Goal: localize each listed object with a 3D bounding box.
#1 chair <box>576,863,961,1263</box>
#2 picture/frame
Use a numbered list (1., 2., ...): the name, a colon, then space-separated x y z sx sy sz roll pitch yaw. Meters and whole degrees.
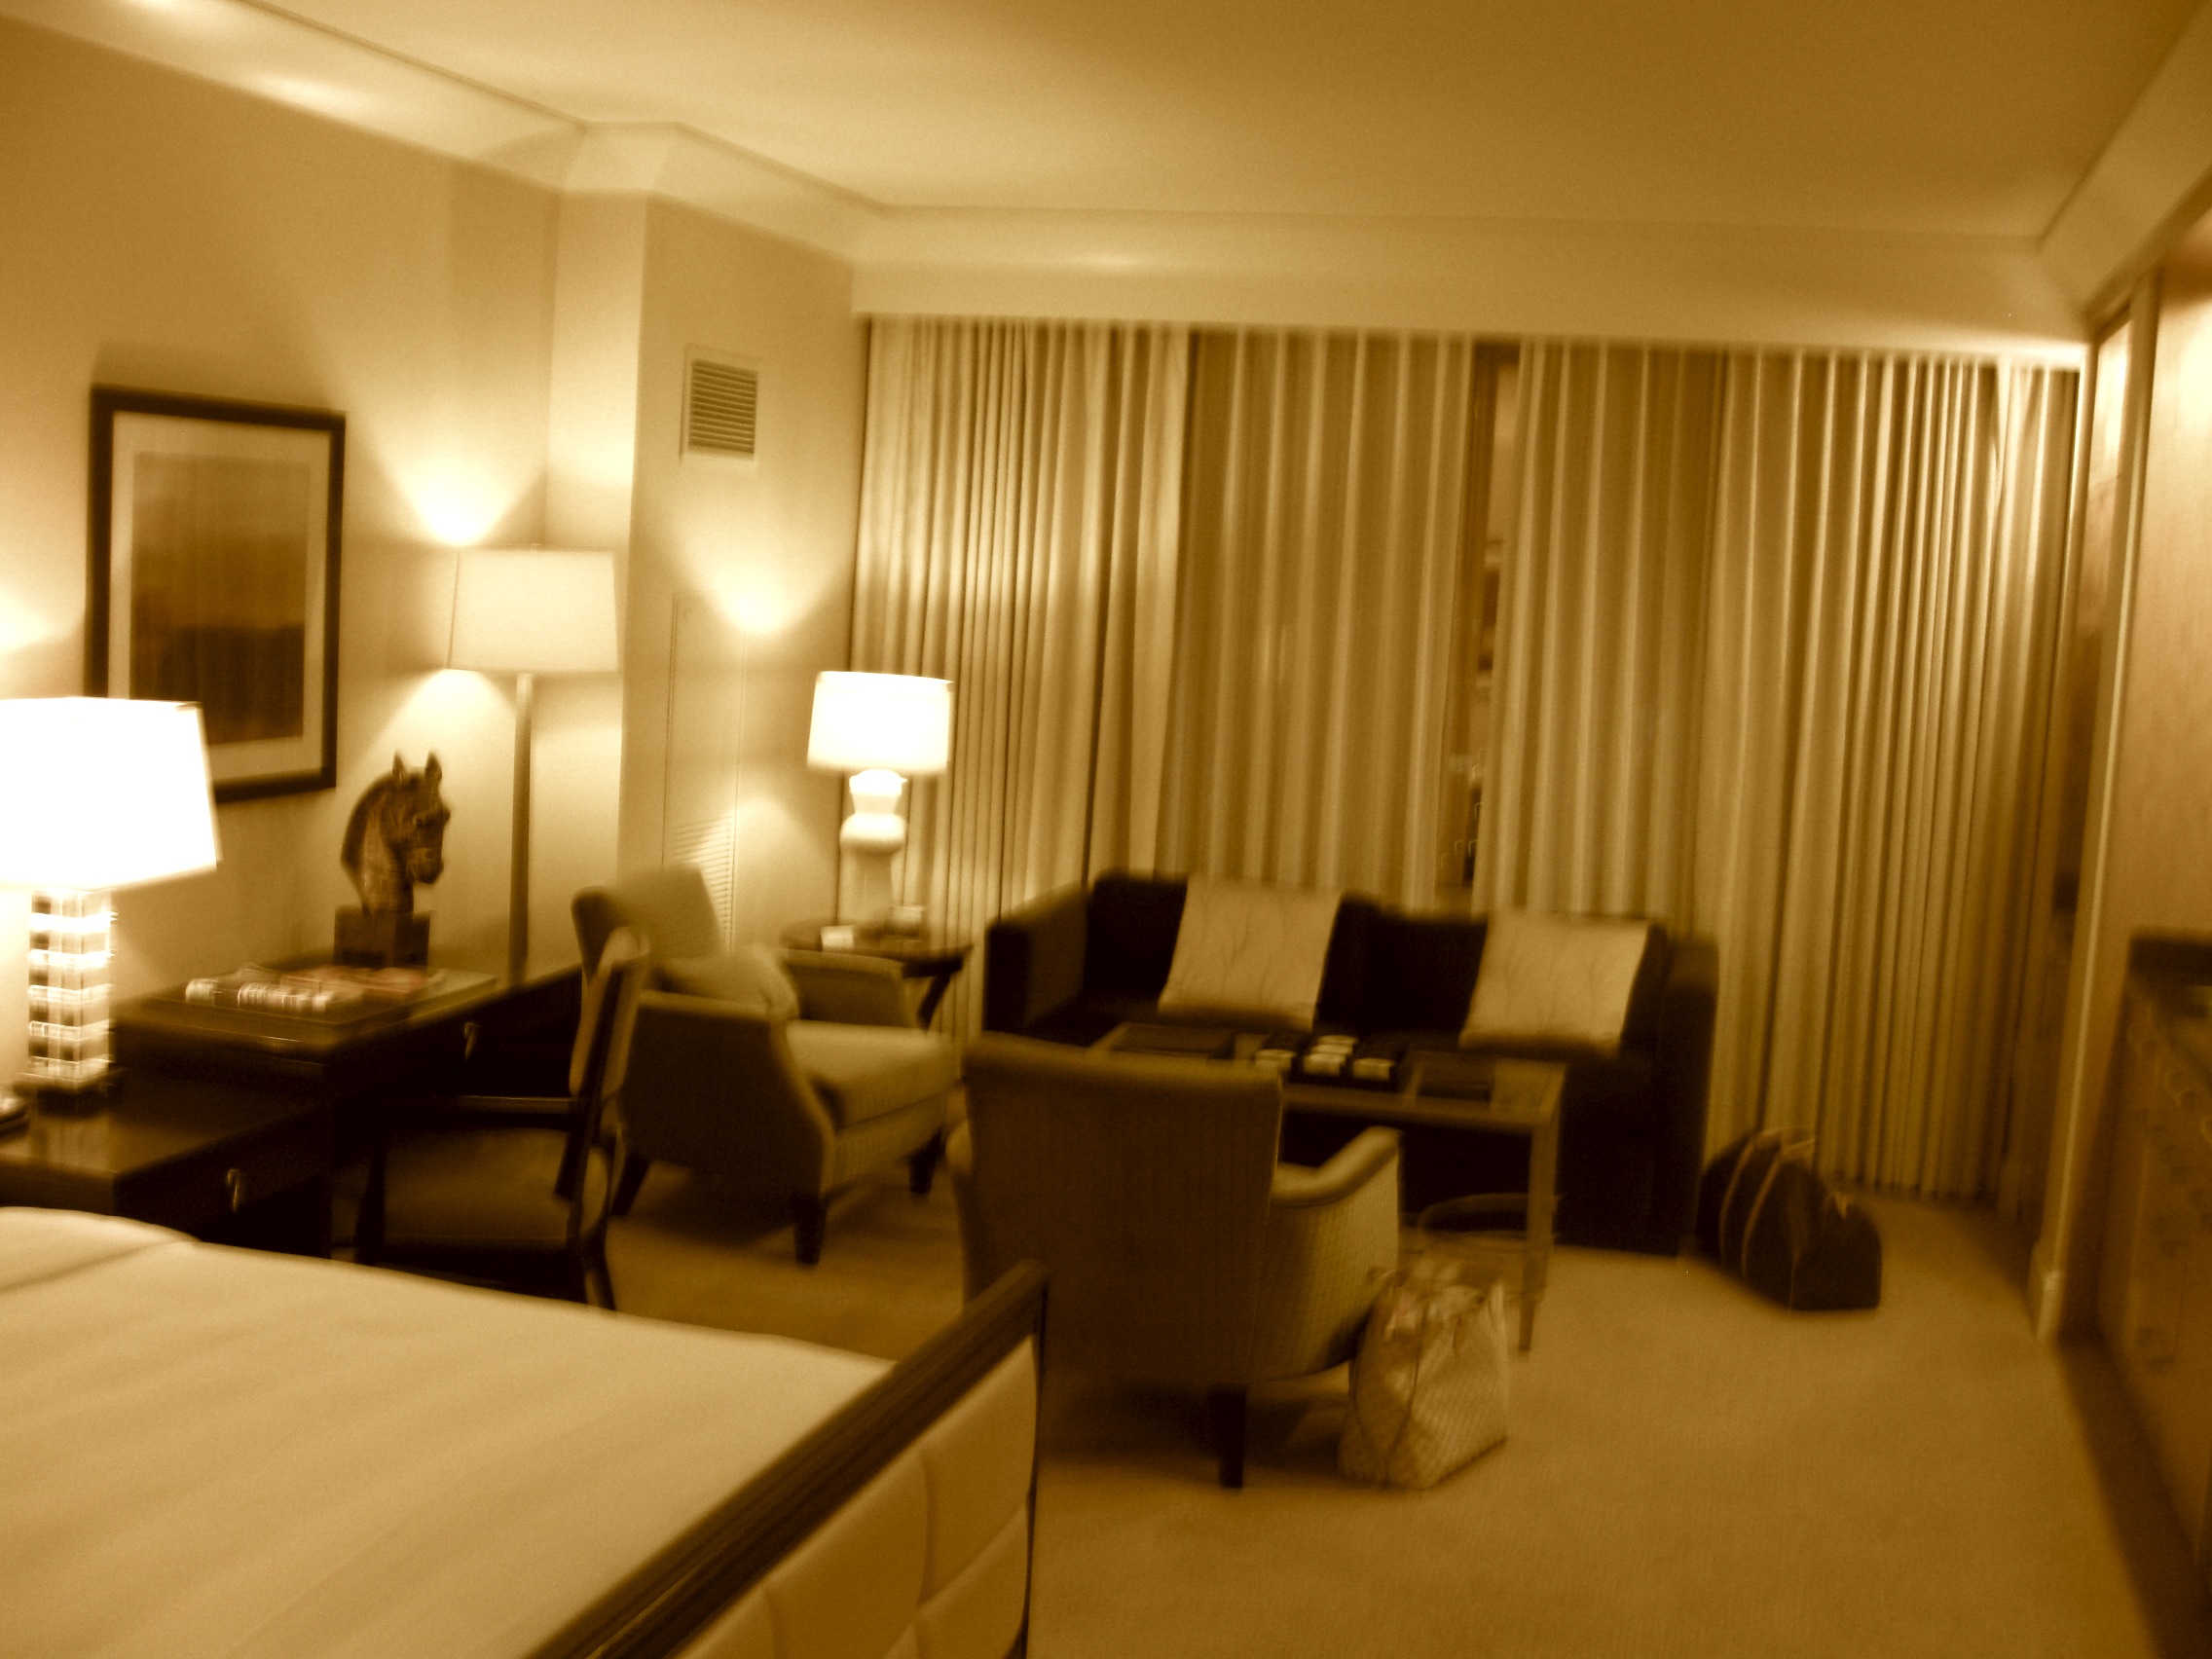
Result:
1. chair: -0.983 0.609 5.400 1.130 1.257 0.901 7 11 26
2. picture/frame: -2.288 -0.628 4.365 0.049 1.246 1.045 3 5 20
